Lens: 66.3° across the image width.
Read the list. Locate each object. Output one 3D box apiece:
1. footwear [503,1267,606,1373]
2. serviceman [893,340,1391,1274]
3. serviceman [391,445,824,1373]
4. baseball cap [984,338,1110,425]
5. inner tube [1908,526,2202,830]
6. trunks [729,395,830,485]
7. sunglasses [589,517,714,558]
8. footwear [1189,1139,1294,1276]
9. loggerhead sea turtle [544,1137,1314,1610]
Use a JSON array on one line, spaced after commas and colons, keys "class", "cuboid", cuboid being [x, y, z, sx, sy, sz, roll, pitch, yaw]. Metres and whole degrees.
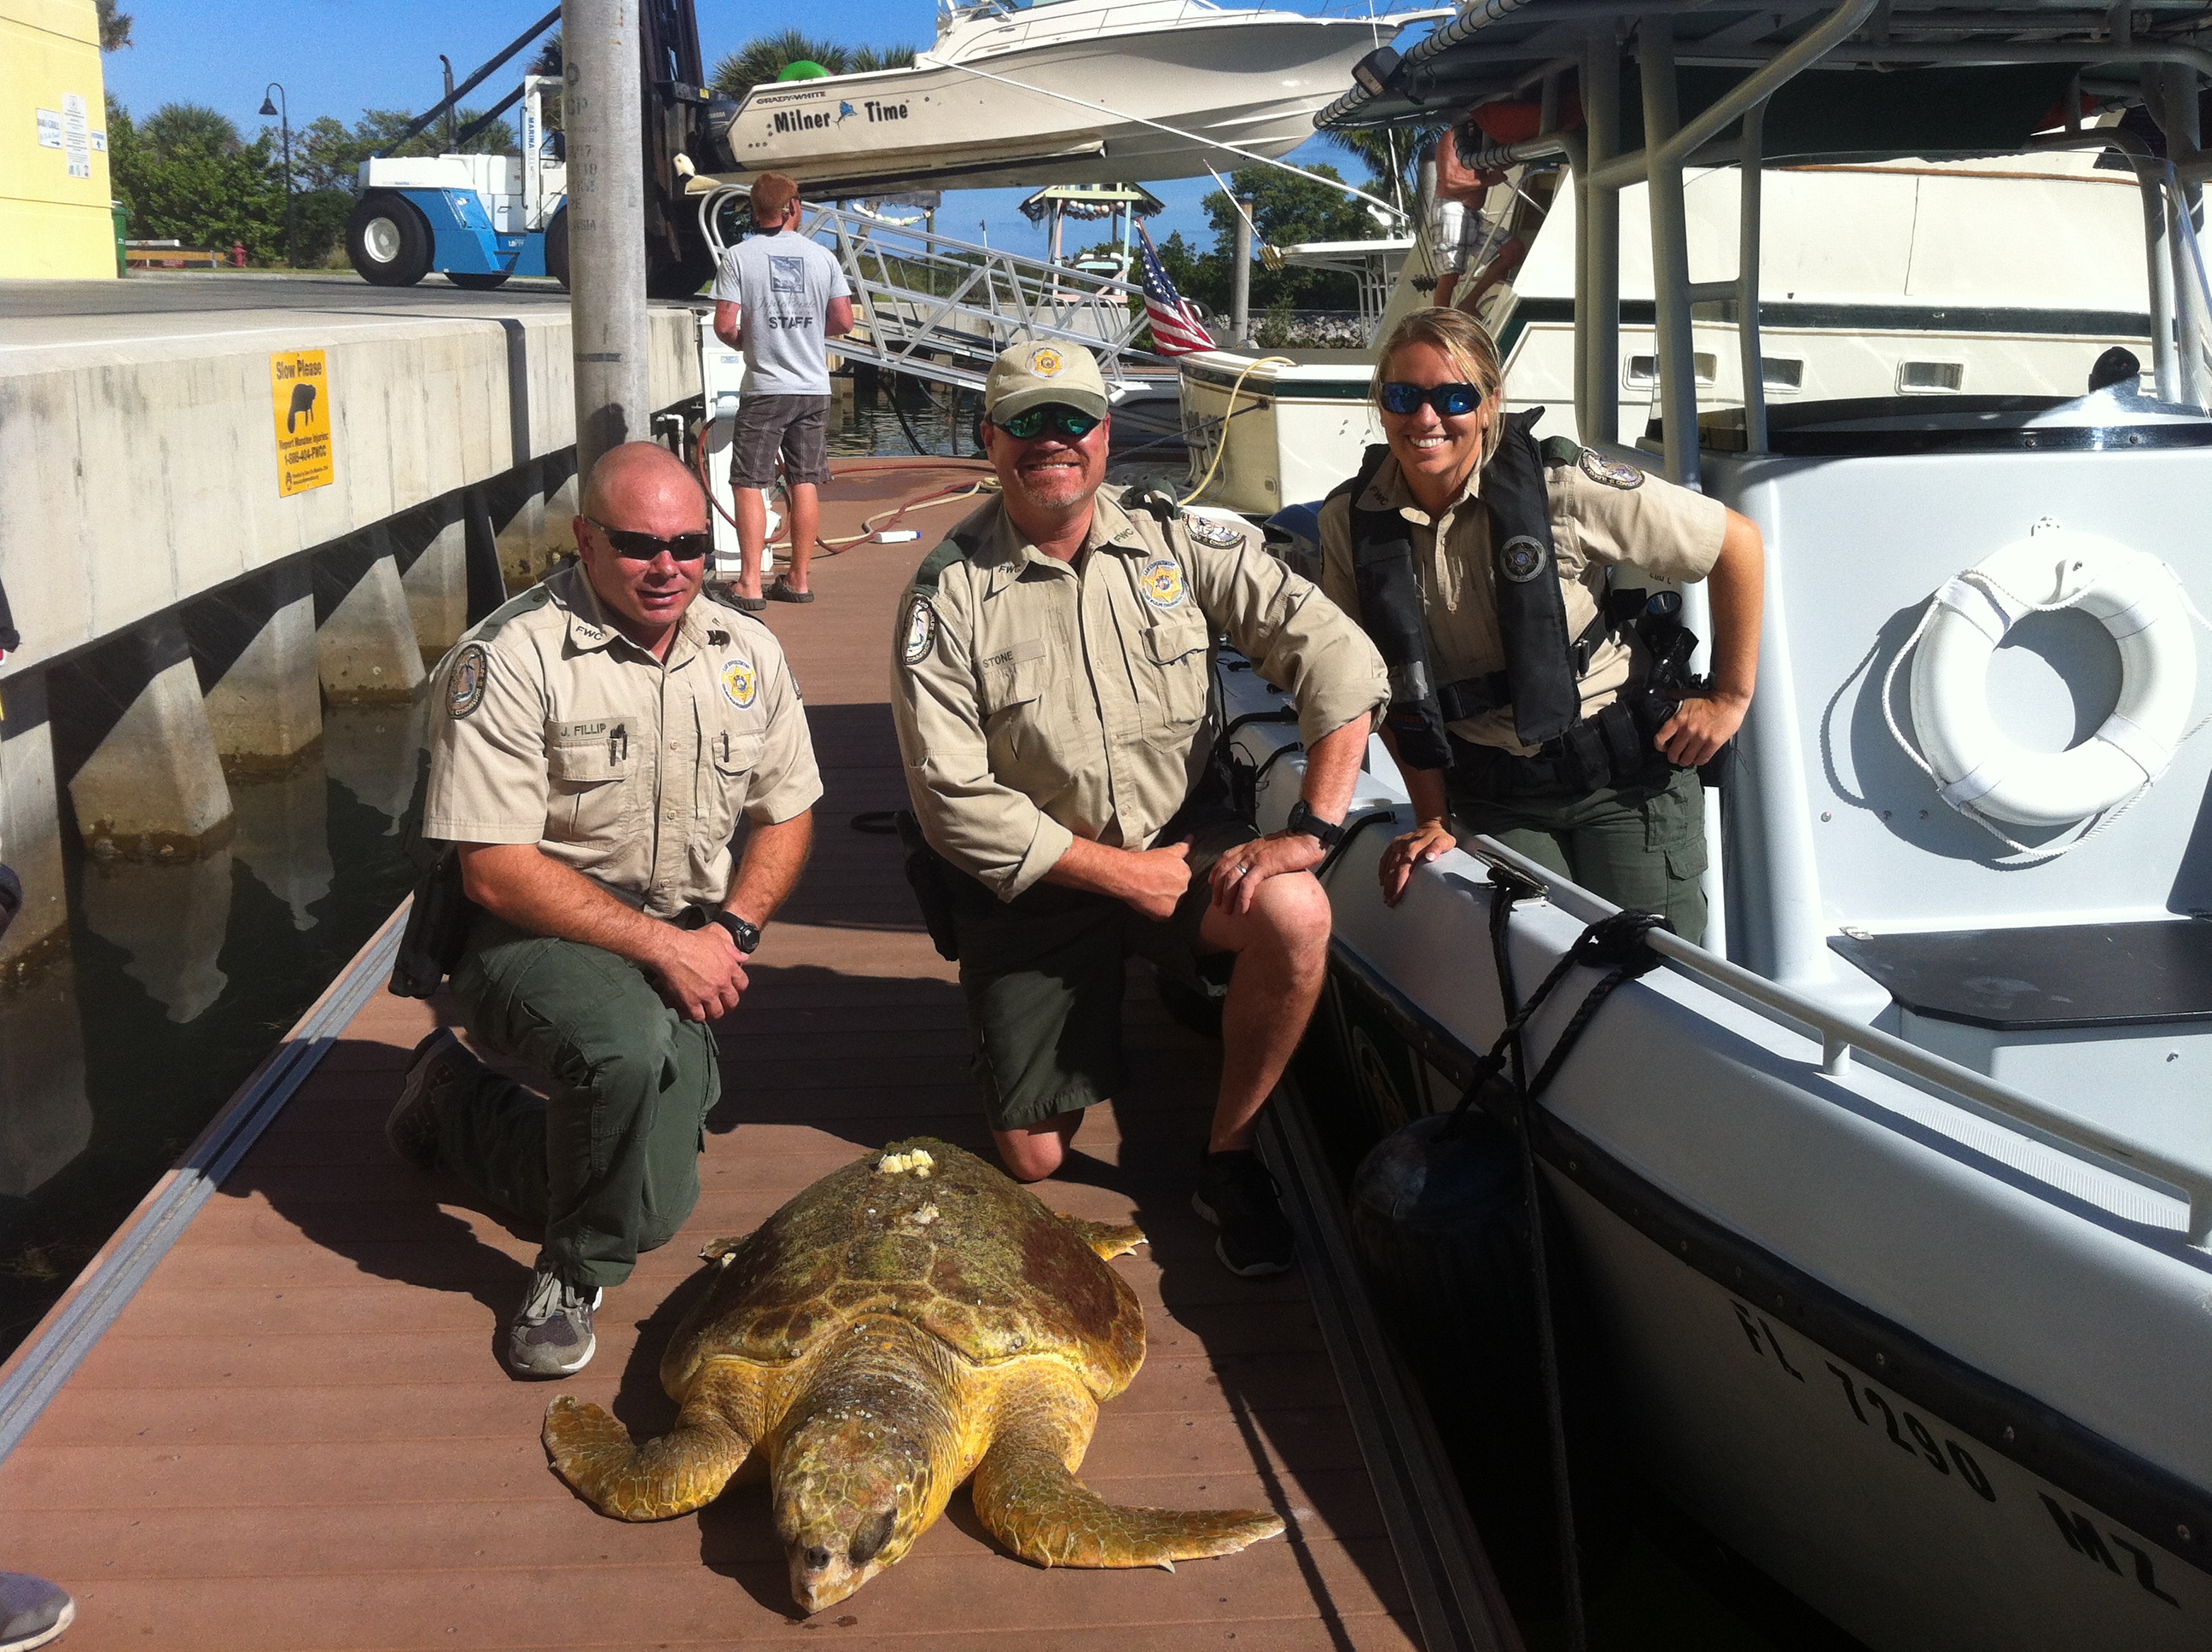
[{"class": "footwear", "cuboid": [-1.095, 0.993, 3.380, 0.104, 0.134, 0.266, 3, -2, -10]}, {"class": "serviceman", "cuboid": [0.047, -0.091, 3.712, 1.043, 1.818, 0.815, 17, 27, 36]}, {"class": "serviceman", "cuboid": [-1.024, 0.063, 3.582, 0.698, 1.947, 0.848, -1, 8, -17]}, {"class": "baseball cap", "cuboid": [-0.128, -0.941, 3.566, 0.249, 0.160, 0.255, 1, 18, -4]}, {"class": "inner tube", "cuboid": [2.079, -0.321, 3.747, 0.588, 0.643, 0.260, -3, 17, -14]}, {"class": "trunks", "cuboid": [-1.606, -1.921, 8.367, 0.440, 0.557, 0.332, 5, 55, -25]}, {"class": "sunglasses", "cuboid": [-0.881, -0.575, 3.411, 0.242, 0.071, 0.110, -15, 25, -41]}, {"class": "footwear", "cuboid": [0.294, 0.830, 3.696, 0.127, 0.148, 0.302, -4, 14, -18]}, {"class": "loggerhead sea turtle", "cuboid": [-0.427, 1.008, 3.352, 1.248, 0.504, 1.592, 3, 15, -3]}]
